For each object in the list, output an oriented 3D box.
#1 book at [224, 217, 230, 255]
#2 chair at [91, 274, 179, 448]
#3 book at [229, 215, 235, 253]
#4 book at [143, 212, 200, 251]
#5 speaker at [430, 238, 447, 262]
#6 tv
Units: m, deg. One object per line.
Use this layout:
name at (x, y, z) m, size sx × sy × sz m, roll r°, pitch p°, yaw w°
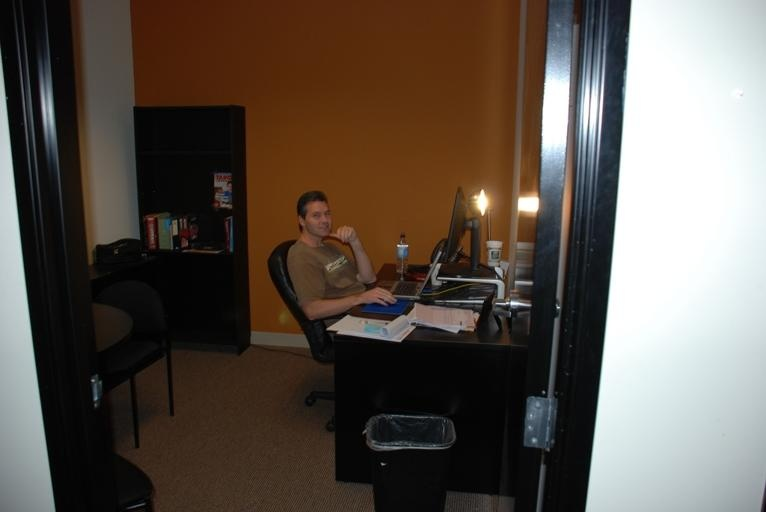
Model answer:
book at (-1.117, -0.154, 4.413) m, size 0.044 × 0.205 × 0.191 m, roll 2°, pitch 5°, yaw -13°
chair at (-1.291, 0.501, 3.163) m, size 0.421 × 0.684 × 0.435 m, roll -3°, pitch 4°, yaw -3°
book at (-1.088, -0.153, 4.385) m, size 0.043 × 0.194 × 0.189 m, roll 2°, pitch 7°, yaw -9°
book at (-1.553, -0.209, 4.453) m, size 0.288 × 0.300 × 0.301 m, roll 1°, pitch 7°, yaw -1°
speaker at (0.347, -0.039, 3.647) m, size 0.040 × 0.132 × 0.128 m, roll 13°, pitch -1°, yaw 16°
tv at (0.500, -0.160, 3.554) m, size 0.256 × 0.531 × 0.511 m, roll 2°, pitch 7°, yaw 13°
